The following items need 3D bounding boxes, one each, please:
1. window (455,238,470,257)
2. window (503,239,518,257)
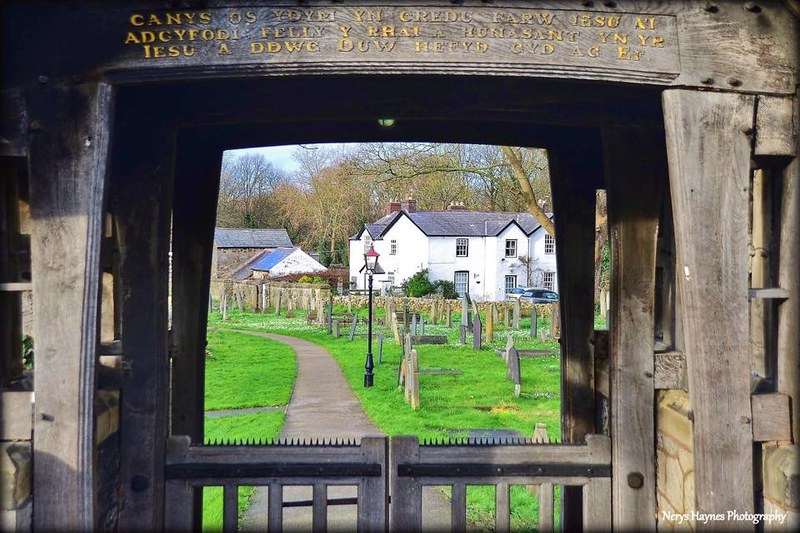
[{"bbox_3d":[2.329,-0.719,45.837,0.664,1.034,0.051,0,-1,-3],"label":"window"},{"bbox_3d":[4.185,-0.715,46.084,0.596,0.934,0.072,-1,1,-2],"label":"window"}]
